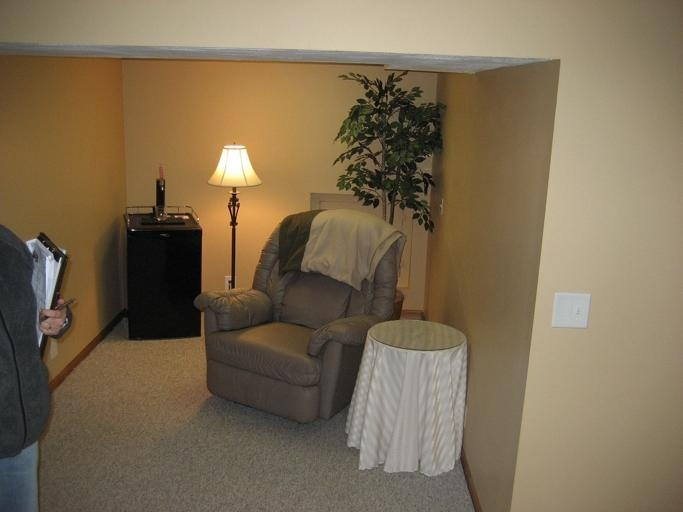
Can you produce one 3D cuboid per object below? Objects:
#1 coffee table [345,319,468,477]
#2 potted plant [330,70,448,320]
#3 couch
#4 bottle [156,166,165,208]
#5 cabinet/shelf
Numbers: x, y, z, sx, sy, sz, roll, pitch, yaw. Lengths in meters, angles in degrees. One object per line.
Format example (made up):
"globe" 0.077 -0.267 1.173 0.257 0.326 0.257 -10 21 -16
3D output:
"coffee table" 0.398 0.709 3.085 0.684 0.747 0.594 9 21 13
"potted plant" 0.340 -0.564 4.459 0.802 1.784 0.533 17 36 30
"couch" -0.297 0.378 3.733 1.180 1.200 1.055 8 8 26
"bottle" -1.494 -0.565 4.538 0.077 0.327 0.399 1 11 -19
"cabinet/shelf" -1.416 0.211 4.679 0.698 1.181 0.783 -1 4 -16
